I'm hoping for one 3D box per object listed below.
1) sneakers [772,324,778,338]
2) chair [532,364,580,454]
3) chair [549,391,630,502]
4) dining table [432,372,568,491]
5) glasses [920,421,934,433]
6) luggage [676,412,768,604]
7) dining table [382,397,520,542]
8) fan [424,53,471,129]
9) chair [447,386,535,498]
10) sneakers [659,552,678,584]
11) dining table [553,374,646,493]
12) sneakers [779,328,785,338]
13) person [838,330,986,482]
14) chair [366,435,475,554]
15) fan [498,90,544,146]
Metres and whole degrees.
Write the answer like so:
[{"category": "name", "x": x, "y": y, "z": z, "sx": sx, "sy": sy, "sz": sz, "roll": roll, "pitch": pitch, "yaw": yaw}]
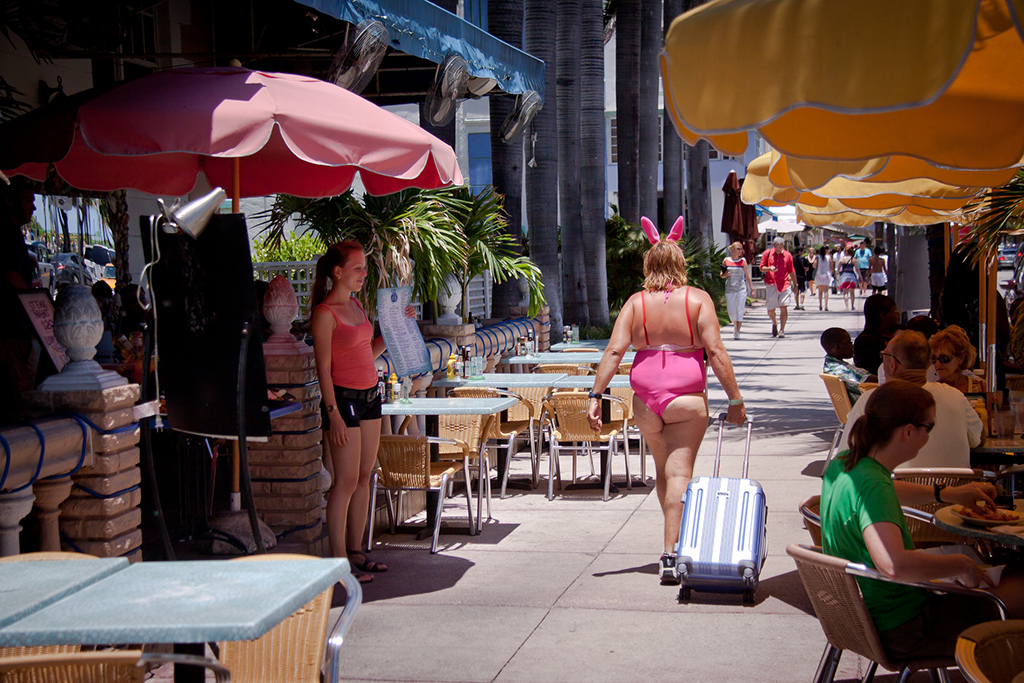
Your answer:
[{"category": "sneakers", "x": 7.409, "y": -0.260, "z": 26.597, "sx": 0.190, "sy": 0.285, "sz": 0.104, "roll": 3, "pitch": -3, "yaw": -9}, {"category": "chair", "x": 0.644, "y": 0.712, "z": 12.932, "sx": 0.637, "sy": 1.095, "sz": 0.704, "roll": 1, "pitch": 10, "yaw": 7}, {"category": "chair", "x": 0.855, "y": 1.132, "z": 11.133, "sx": 0.992, "sy": 1.647, "sz": 1.149, "roll": 0, "pitch": 8, "yaw": 13}, {"category": "dining table", "x": -0.128, "y": 1.223, "z": 11.688, "sx": 1.308, "sy": 1.396, "sz": 1.388, "roll": 2, "pitch": 7, "yaw": 21}, {"category": "glasses", "x": 2.229, "y": 0.464, "z": 5.063, "sx": 0.063, "sy": 0.074, "sz": 0.022, "roll": 1, "pitch": -9, "yaw": 14}, {"category": "luggage", "x": 1.777, "y": 1.312, "z": 7.785, "sx": 0.685, "sy": 1.904, "sz": 0.743, "roll": 10, "pitch": -36, "yaw": 7}, {"category": "dining table", "x": -0.656, "y": 1.250, "z": 9.721, "sx": 1.087, "sy": 1.164, "sz": 1.158, "roll": -1, "pitch": 4, "yaw": 7}, {"category": "fan", "x": -0.849, "y": -2.918, "z": 10.796, "sx": 0.175, "sy": 0.680, "sz": 0.616, "roll": 21, "pitch": 4, "yaw": 22}, {"category": "chair", "x": -0.152, "y": 1.223, "z": 11.314, "sx": 0.717, "sy": 1.137, "sz": 0.772, "roll": -3, "pitch": -10, "yaw": 31}, {"category": "sneakers", "x": 1.272, "y": 1.875, "z": 7.685, "sx": 0.096, "sy": 0.145, "sz": 0.299, "roll": 1, "pitch": 3, "yaw": 8}, {"category": "dining table", "x": 0.777, "y": 1.000, "z": 10.745, "sx": 1.066, "sy": 1.377, "sz": 1.160, "roll": -15, "pitch": -30, "yaw": 24}, {"category": "sneakers", "x": 7.688, "y": -0.184, "z": 26.863, "sx": 0.141, "sy": 0.200, "sz": 0.493, "roll": 1, "pitch": 11, "yaw": 15}, {"category": "person", "x": 2.917, "y": 0.476, "z": 6.832, "sx": 0.958, "sy": 1.441, "sz": 0.768, "roll": -1, "pitch": 35, "yaw": 14}, {"category": "chair", "x": -0.885, "y": 1.412, "z": 9.047, "sx": 0.821, "sy": 1.138, "sz": 0.830, "roll": 1, "pitch": 3, "yaw": 8}, {"category": "fan", "x": 0.076, "y": -3.091, "z": 12.949, "sx": 0.647, "sy": 0.225, "sz": 0.426, "roll": -36, "pitch": -40, "yaw": 29}]
